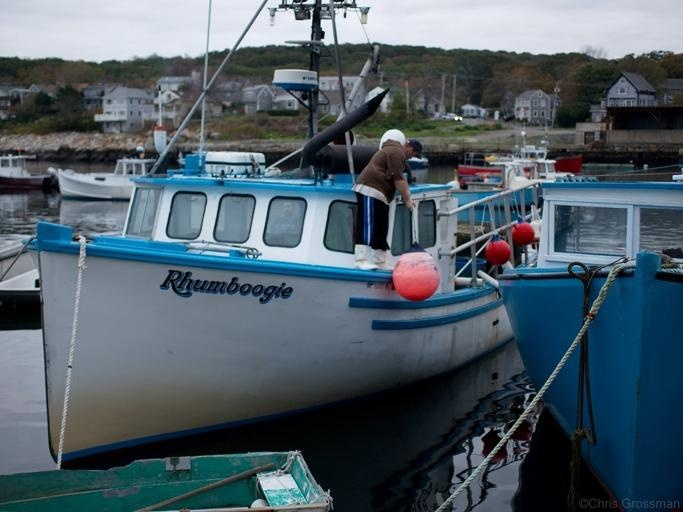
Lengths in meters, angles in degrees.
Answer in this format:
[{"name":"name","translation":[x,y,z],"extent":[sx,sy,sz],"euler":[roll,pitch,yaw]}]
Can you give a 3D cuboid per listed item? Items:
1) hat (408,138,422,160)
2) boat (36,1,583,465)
[{"name":"hat","translation":[0.892,-1.337,10.848],"extent":[0.170,0.218,0.224],"euler":[22,24,34]},{"name":"boat","translation":[-0.621,0.322,12.664],"extent":[3.002,5.223,8.309],"euler":[5,10,38]}]
